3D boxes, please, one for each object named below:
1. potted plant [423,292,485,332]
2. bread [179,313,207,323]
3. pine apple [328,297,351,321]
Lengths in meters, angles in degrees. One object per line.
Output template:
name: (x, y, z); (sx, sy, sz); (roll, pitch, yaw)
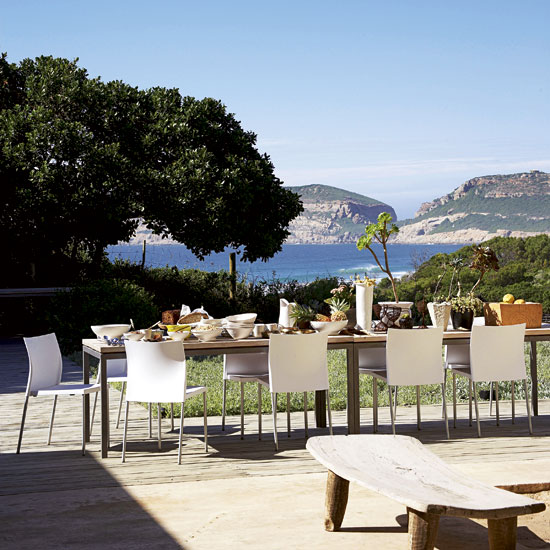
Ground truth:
potted plant: (1.362, 0.296, 4.955); (0.301, 0.191, 0.365); (1, -5, -10)
bread: (-0.587, 0.307, 4.511); (0.118, 0.050, 0.092); (-4, 1, -9)
pine apple: (0.490, 0.256, 4.786); (0.164, 0.197, 0.144); (0, 2, -34)
